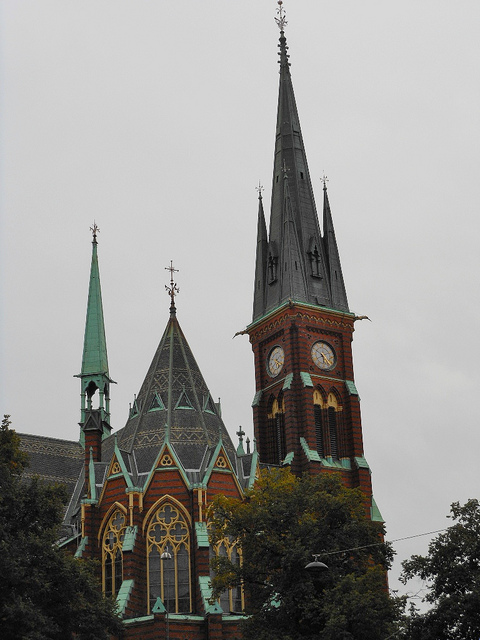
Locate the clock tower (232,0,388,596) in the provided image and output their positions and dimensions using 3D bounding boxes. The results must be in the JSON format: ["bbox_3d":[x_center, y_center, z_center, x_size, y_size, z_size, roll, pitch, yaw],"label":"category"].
[{"bbox_3d":[4.653,-6.962,96.868,7.365,42.524,4.597,-3,-28,4],"label":"clock tower"}]

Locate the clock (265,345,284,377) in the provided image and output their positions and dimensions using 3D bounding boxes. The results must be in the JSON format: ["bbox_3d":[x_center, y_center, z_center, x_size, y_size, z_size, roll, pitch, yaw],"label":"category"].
[{"bbox_3d":[2.582,3.003,92.181,0.170,2.168,2.029,9,2,-25],"label":"clock"}]
